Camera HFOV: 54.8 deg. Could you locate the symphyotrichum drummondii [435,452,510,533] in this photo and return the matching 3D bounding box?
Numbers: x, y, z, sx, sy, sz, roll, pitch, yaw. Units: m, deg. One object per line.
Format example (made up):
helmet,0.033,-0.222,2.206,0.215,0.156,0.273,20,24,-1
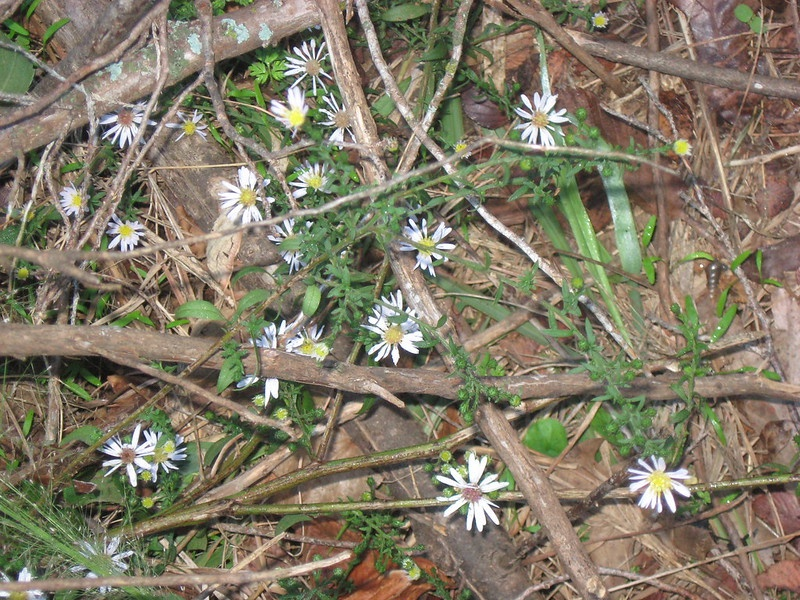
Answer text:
symphyotrichum drummondii,0.364,0.879,3.801,0.370,0.370,0.142,38,16,3
